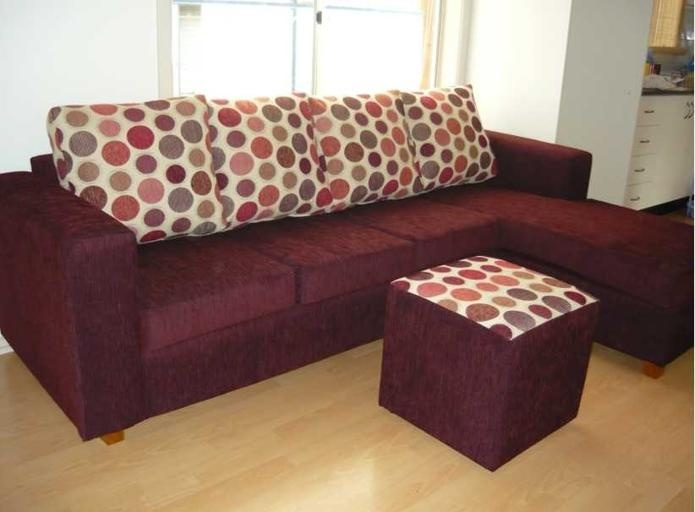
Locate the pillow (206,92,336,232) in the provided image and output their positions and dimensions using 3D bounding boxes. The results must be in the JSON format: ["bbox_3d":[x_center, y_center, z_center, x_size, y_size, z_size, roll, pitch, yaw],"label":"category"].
[{"bbox_3d":[-0.385,-0.419,2.519,0.645,0.595,0.190,-13,2,-41],"label":"pillow"}]

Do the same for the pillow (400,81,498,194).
[{"bbox_3d":[0.590,-0.689,3.179,0.681,0.619,0.206,-15,1,-37],"label":"pillow"}]

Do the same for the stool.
[{"bbox_3d":[0.544,0.378,2.133,0.625,0.570,0.604,-20,27,-40],"label":"stool"}]

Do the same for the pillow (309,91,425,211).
[{"bbox_3d":[0.036,-0.551,2.870,0.656,0.602,0.191,-14,0,-40],"label":"pillow"}]

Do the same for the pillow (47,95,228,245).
[{"bbox_3d":[-0.838,-0.347,2.238,0.625,0.553,0.275,-12,23,-27],"label":"pillow"}]
